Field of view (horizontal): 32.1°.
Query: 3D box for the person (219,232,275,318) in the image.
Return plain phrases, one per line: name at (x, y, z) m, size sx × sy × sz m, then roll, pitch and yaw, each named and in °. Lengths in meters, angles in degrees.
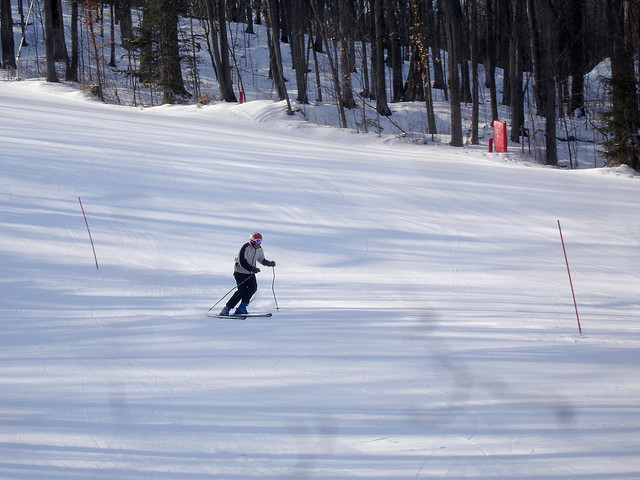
person at (-2.265, 1.187, 34.328) m, size 1.443 × 2.236 × 0.613 m, roll -5°, pitch 8°, yaw -14°
